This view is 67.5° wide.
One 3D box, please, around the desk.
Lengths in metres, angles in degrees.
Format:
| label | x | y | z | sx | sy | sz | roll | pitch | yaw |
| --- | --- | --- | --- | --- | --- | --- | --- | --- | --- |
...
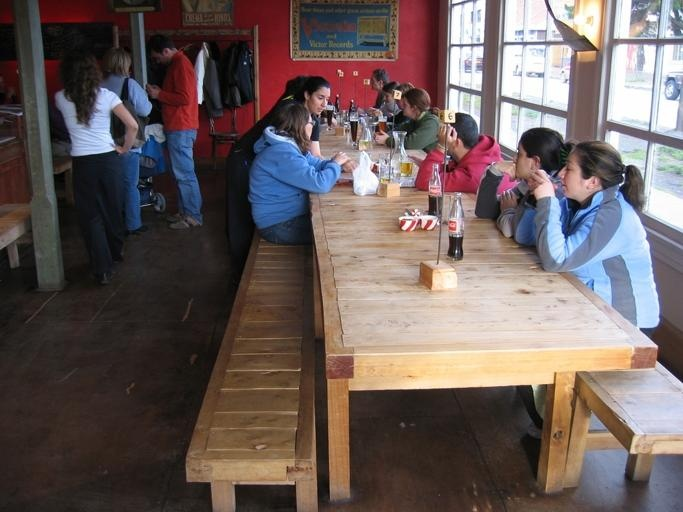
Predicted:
| label | x | y | z | sx | sy | sz | roll | pitch | yaw |
| --- | --- | --- | --- | --- | --- | --- | --- | --- | --- |
| desk | 0.385 | 0.394 | 2.687 | 1.199 | 0.854 | 2.006 | 1 | 19 | -1 |

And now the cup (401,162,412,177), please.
| label | x | y | z | sx | sy | sz | roll | pitch | yaw |
| --- | --- | --- | --- | --- | --- | --- | --- | --- | --- |
| cup | 0.456 | -0.622 | 3.633 | 0.087 | 0.085 | 0.105 | 1 | -17 | 4 |

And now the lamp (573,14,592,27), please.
| label | x | y | z | sx | sy | sz | roll | pitch | yaw |
| --- | --- | --- | --- | --- | --- | --- | --- | --- | --- |
| lamp | 1.802 | -1.755 | 3.804 | 0.033 | 0.076 | 0.155 | -9 | 20 | -23 |

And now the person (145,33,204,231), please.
| label | x | y | z | sx | sy | sz | roll | pitch | yaw |
| --- | --- | --- | --- | --- | --- | --- | --- | --- | --- |
| person | -1.729 | -1.318 | 5.490 | 0.438 | 1.965 | 0.652 | -6 | 19 | -15 |

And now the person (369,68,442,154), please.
| label | x | y | z | sx | sy | sz | roll | pitch | yaw |
| --- | --- | --- | --- | --- | --- | --- | --- | --- | --- |
| person | 0.751 | -1.443 | 5.124 | 1.000 | 0.836 | 0.730 | 2 | 26 | 1 |

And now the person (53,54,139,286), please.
| label | x | y | z | sx | sy | sz | roll | pitch | yaw |
| --- | --- | --- | --- | --- | --- | --- | --- | --- | --- |
| person | -1.923 | -0.714 | 4.182 | 0.559 | 1.800 | 0.392 | -16 | 24 | -38 |

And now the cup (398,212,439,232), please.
| label | x | y | z | sx | sy | sz | roll | pitch | yaw |
| --- | --- | --- | --- | --- | --- | --- | --- | --- | --- |
| cup | 0.405 | -0.184 | 2.716 | 0.151 | 0.049 | 0.104 | -4 | 24 | -6 |
